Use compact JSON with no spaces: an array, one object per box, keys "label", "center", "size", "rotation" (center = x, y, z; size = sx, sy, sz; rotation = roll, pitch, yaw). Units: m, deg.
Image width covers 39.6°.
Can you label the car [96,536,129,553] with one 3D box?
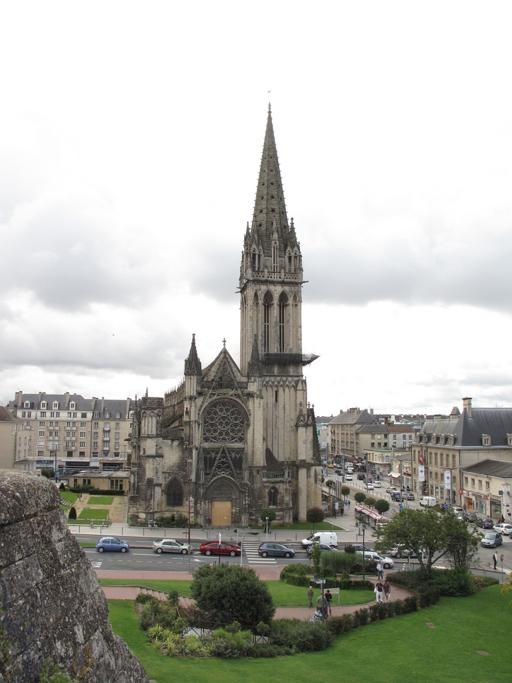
[{"label":"car","center":[-9.366,13.377,46.740],"size":[1.677,0.826,0.986],"rotation":[0,-1,-3]}]

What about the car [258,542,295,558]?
[{"label":"car","center":[1.256,14.065,47.836],"size":[1.714,0.714,1.008],"rotation":[-2,-8,5]}]

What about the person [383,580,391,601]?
[{"label":"person","center":[6.016,11.575,32.906],"size":[0.226,0.621,0.823],"rotation":[-1,-3,5]}]

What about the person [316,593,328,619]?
[{"label":"person","center":[2.603,10.559,28.332],"size":[0.367,1.198,1.146],"rotation":[-1,-3,7]}]
